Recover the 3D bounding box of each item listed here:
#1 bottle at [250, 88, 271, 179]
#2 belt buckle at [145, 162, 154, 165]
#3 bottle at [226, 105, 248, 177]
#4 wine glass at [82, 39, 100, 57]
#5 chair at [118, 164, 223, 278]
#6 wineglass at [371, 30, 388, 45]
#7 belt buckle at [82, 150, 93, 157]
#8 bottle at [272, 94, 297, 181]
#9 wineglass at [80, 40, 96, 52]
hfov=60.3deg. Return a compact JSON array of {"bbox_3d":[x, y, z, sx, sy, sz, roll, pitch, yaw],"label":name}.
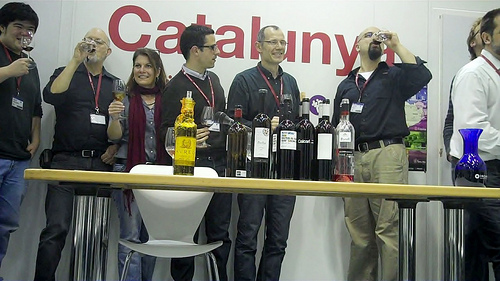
[{"bbox_3d":[0.088,-0.056,3.685,0.170,0.752,0.420,1,6,0],"label":"bottle"},{"bbox_3d":[-1.162,0.261,4.939,0.106,0.018,0.054,-4,8,-43],"label":"belt buckle"},{"bbox_3d":[-0.111,0.003,3.727,0.187,0.605,0.197,1,6,0],"label":"bottle"},{"bbox_3d":[-1.825,-1.068,4.942,0.179,0.185,0.175,-47,33,-18],"label":"wine glass"},{"bbox_3d":[-0.703,0.872,4.415,1.023,1.412,1.023,2,-24,-4],"label":"chair"},{"bbox_3d":[1.608,-1.262,5.303,0.095,0.163,0.199,-2,7,-31],"label":"wineglass"},{"bbox_3d":[-1.878,0.151,4.947,0.111,0.079,0.028,-1,6,-21],"label":"belt buckle"},{"bbox_3d":[0.301,-0.029,3.702,0.217,0.723,0.393,2,6,4],"label":"bottle"},{"bbox_3d":[-1.868,-1.087,4.942,0.127,0.155,0.213,1,6,-2],"label":"wineglass"}]
